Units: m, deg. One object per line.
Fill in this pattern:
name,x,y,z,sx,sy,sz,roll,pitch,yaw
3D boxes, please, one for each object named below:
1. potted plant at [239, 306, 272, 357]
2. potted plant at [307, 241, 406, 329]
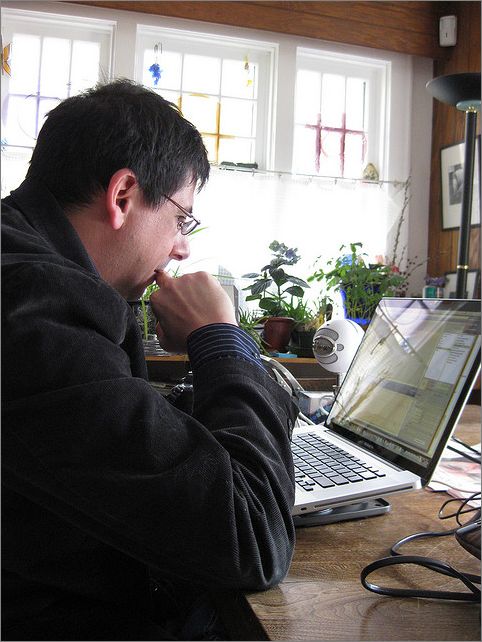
potted plant,0.056,0.035,2.344,0.183,0.188,0.141,0,-8,1
potted plant,0.573,-0.154,2.479,0.367,0.322,0.379,7,4,7
